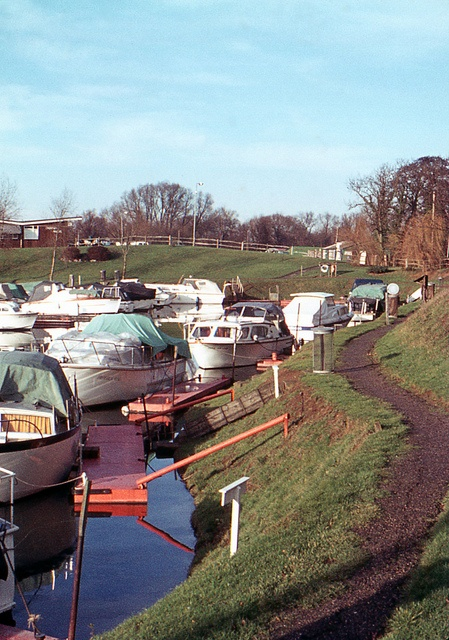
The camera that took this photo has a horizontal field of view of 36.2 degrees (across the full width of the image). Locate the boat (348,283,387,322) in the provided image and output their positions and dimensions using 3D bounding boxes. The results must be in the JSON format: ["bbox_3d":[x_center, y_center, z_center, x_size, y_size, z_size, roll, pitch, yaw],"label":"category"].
[{"bbox_3d":[7.430,-0.859,36.090,1.347,0.954,3.622,5,26,15],"label":"boat"}]

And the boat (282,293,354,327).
[{"bbox_3d":[4.109,-0.467,31.891,2.232,1.466,3.845,1,5,29],"label":"boat"}]

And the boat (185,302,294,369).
[{"bbox_3d":[0.651,0.667,27.828,2.601,2.214,5.766,1,5,26],"label":"boat"}]
